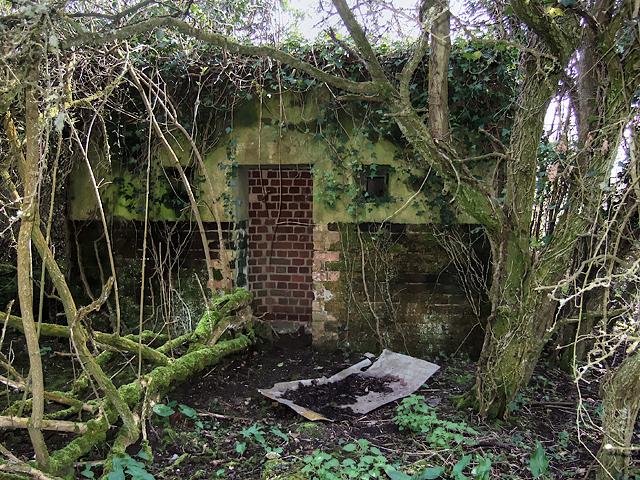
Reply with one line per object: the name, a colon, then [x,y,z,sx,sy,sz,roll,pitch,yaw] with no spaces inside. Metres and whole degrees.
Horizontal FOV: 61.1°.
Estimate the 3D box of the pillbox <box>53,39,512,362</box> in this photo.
pillbox: [-0.333,-0.454,5.544,3.135,3.824,0.489,-1,4,8]
